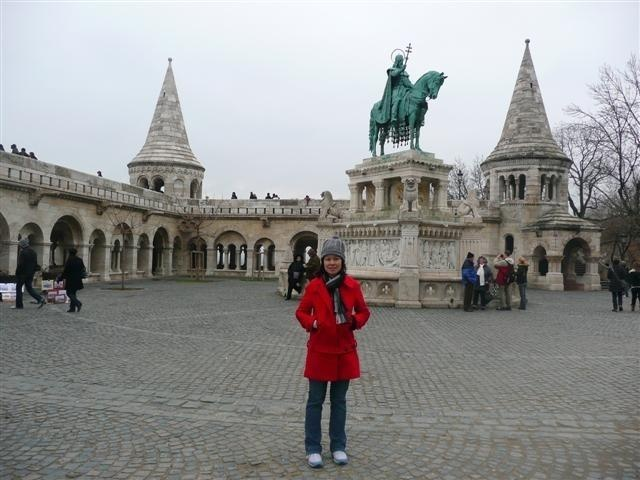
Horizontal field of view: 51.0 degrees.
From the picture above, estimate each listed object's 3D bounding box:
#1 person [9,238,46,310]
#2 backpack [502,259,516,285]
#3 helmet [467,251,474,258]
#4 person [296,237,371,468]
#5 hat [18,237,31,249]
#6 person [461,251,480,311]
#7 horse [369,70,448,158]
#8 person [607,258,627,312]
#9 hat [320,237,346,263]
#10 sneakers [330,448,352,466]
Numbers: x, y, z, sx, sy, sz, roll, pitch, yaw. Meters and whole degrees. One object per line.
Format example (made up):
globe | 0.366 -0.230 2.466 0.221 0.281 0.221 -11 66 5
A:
person | -7.864 0.956 18.130 0.661 1.848 0.730 0 8 -8
backpack | 5.568 0.948 19.900 0.235 0.746 0.493 5 9 26
helmet | 4.334 0.453 19.427 0.182 0.188 0.171 1 9 -14
person | 0.175 1.454 8.846 0.925 2.915 0.775 -1 8 -14
hat | -9.489 0.111 21.567 0.433 0.489 0.531 2 2 -24
person | 4.321 1.214 19.486 0.452 1.656 0.643 2 8 7
horse | 2.957 -4.369 23.398 0.885 2.387 3.685 6 -6 -35
person | 8.987 1.381 20.550 0.571 1.542 0.532 0 -2 6
hat | 0.175 0.134 8.978 0.287 0.301 0.318 2 -3 0
sneakers | 0.278 2.844 8.780 0.225 0.175 0.207 -2 8 -19
